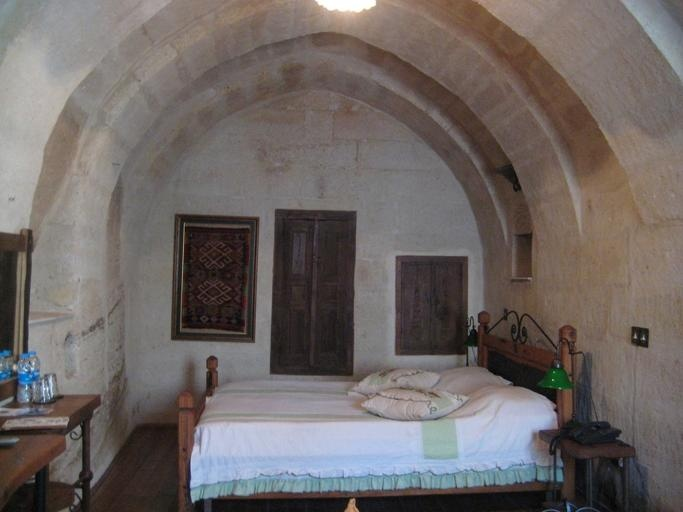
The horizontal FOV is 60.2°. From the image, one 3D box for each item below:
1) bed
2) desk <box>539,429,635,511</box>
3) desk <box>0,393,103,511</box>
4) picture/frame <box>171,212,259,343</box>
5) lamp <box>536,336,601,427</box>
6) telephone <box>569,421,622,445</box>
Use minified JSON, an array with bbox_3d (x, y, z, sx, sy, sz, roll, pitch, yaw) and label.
[{"bbox_3d":[0.205,1.322,5.186,2.355,1.500,1.763,1,-1,-2],"label":"bed"},{"bbox_3d":[1.876,1.523,4.587,0.492,0.704,0.684,1,-4,0],"label":"desk"},{"bbox_3d":[-1.960,1.305,3.948,0.340,0.690,1.030,1,5,-8],"label":"desk"},{"bbox_3d":[-1.421,0.294,6.514,1.156,1.942,0.119,2,1,0],"label":"picture/frame"},{"bbox_3d":[1.798,1.003,4.676,0.416,0.777,0.250,-2,3,-4],"label":"lamp"},{"bbox_3d":[1.904,1.323,4.428,0.202,0.085,0.215,-3,-1,-14],"label":"telephone"}]
